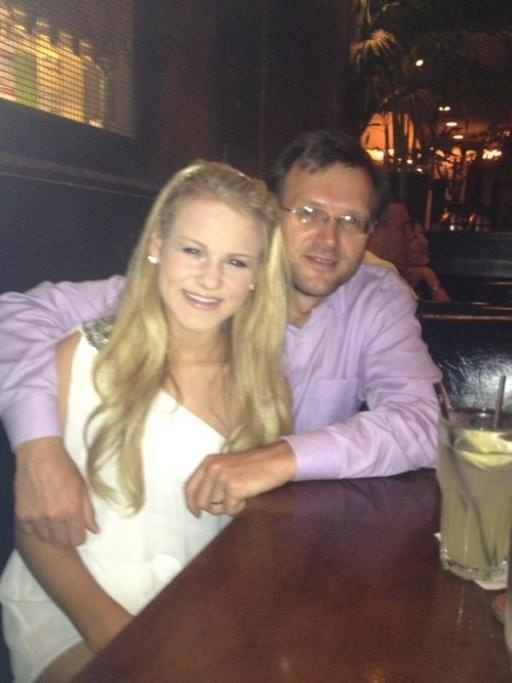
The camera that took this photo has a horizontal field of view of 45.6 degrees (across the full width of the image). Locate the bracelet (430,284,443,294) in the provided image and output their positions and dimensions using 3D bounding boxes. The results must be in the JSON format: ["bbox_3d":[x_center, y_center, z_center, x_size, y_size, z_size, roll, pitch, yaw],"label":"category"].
[{"bbox_3d":[1.332,-0.398,4.513,0.085,0.060,0.083,-1,-1,19],"label":"bracelet"}]
